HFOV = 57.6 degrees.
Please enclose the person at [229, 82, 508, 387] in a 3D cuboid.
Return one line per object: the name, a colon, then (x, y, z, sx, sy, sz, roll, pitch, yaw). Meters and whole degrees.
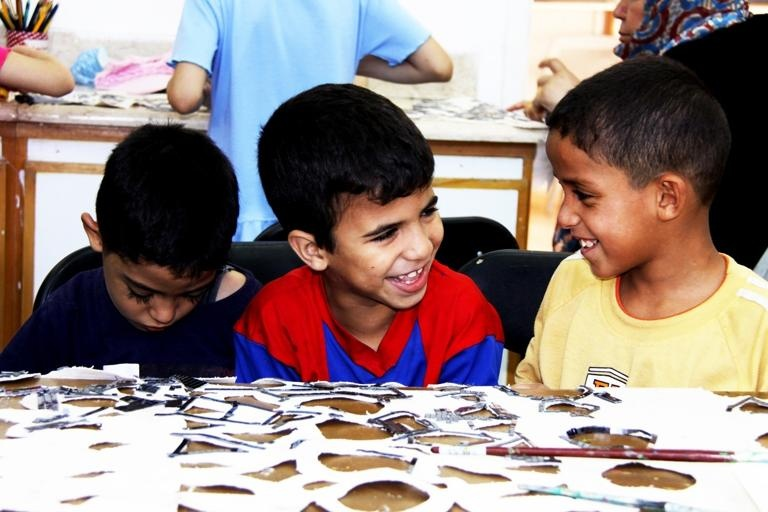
person: (-0.045, 0.096, 1.429, 0.551, 0.780, 0.359, -5, 18, 5)
